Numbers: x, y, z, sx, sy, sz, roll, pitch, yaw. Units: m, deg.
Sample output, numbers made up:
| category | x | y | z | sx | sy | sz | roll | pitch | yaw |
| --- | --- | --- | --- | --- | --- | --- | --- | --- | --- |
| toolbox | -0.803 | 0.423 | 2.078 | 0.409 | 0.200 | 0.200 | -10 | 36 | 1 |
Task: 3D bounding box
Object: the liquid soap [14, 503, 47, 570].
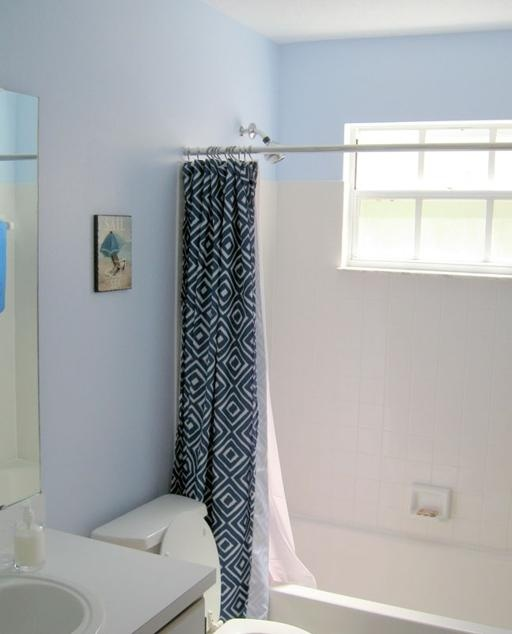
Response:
| category | x | y | z | sx | sy | sz | roll | pitch | yaw |
| --- | --- | --- | --- | --- | --- | --- | --- | --- | --- |
| liquid soap | -0.458 | 0.449 | 1.139 | 0.055 | 0.107 | 0.060 | -3 | 9 | -33 |
